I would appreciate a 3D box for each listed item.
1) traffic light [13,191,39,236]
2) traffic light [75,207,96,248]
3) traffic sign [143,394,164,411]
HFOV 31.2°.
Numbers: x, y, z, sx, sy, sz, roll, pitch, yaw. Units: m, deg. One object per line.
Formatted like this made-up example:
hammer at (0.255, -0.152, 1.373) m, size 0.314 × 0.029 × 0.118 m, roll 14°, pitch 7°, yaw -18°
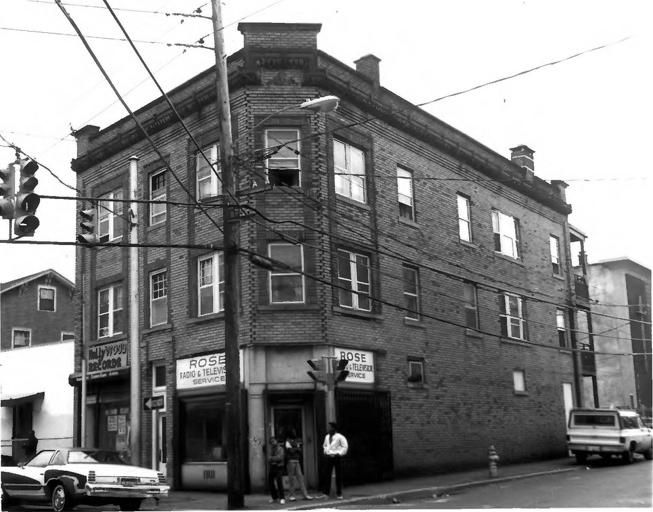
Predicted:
traffic light at (-8.146, -1.153, 31.461) m, size 0.632 × 1.287 × 0.521 m, roll 1°, pitch -19°, yaw -13°
traffic light at (-7.862, -0.911, 37.850) m, size 0.769 × 0.541 × 2.322 m, roll -8°, pitch 20°, yaw -9°
traffic sign at (-5.991, 4.958, 39.360) m, size 1.116 × 0.614 × 0.247 m, roll 3°, pitch -5°, yaw -31°
